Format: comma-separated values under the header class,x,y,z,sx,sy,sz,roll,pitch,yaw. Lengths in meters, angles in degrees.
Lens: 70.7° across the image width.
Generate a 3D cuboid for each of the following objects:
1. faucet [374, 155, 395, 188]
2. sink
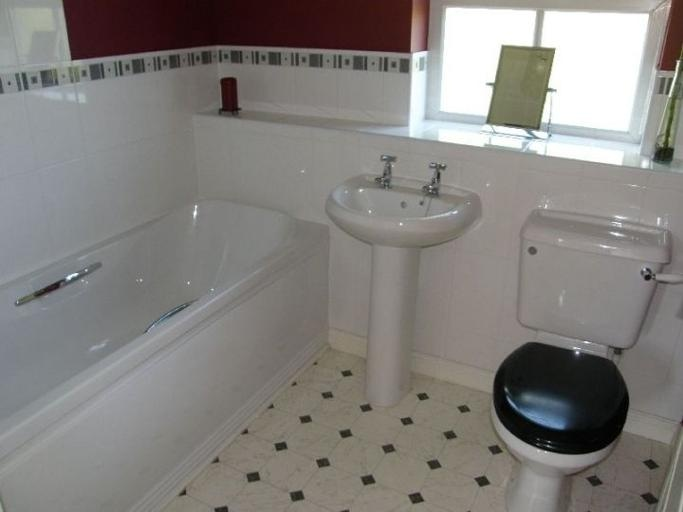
class,x,y,z,sx,sy,sz,roll,pitch,yaw
faucet,0.213,-0.417,2.387,0.088,0.168,0.126,16,35,28
sink,0.292,-0.195,2.172,0.466,0.181,0.405,13,29,28
